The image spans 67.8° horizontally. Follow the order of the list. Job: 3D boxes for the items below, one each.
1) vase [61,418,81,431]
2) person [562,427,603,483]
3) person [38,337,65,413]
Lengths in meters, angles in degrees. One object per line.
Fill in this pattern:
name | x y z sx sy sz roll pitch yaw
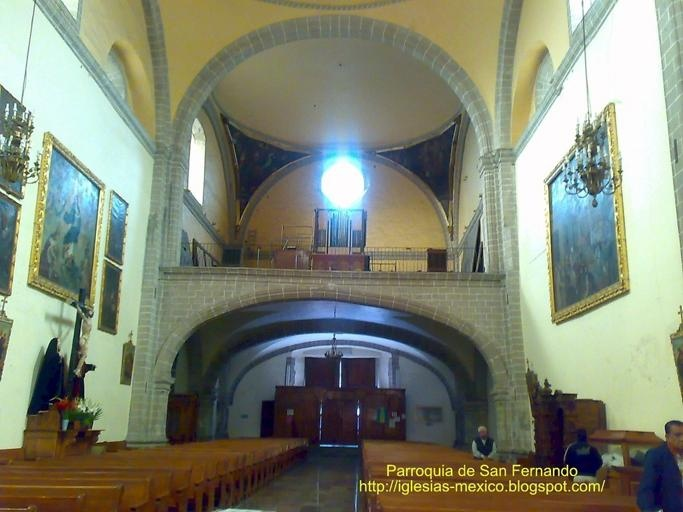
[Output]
vase | -4.655 2.798 8.726 0.281 0.313 0.170 3 2 -20
person | 3.417 2.817 7.260 0.516 0.776 0.555 3 -20 -4
person | -5.142 2.073 9.005 0.339 1.056 0.647 1 11 -11
